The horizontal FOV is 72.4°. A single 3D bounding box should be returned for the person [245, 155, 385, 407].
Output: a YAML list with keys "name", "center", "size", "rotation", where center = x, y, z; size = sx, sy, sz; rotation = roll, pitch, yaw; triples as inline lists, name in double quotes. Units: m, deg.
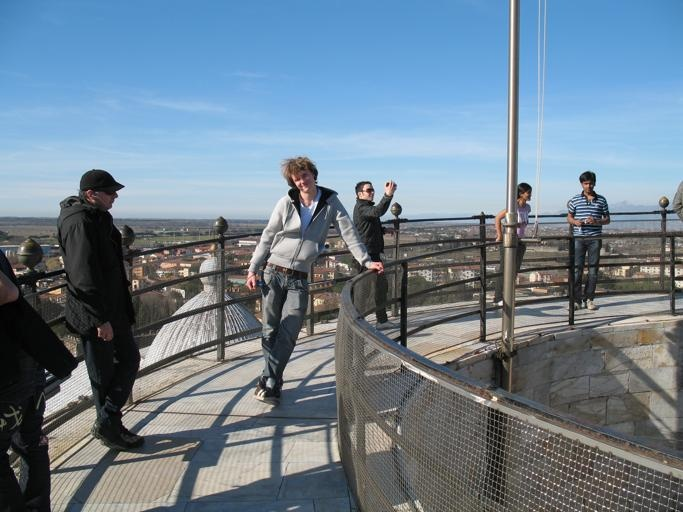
- name: "person"
  center: [-0.358, 0.241, 4.271]
  size: [1.002, 2.224, 0.458]
  rotation: [0, 5, -10]

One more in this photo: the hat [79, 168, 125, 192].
- name: "hat"
  center: [-1.565, -0.494, 3.029]
  size: [0.245, 0.149, 0.283]
  rotation: [-1, 5, -29]

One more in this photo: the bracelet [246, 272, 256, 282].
- name: "bracelet"
  center: [-0.860, 0.195, 4.398]
  size: [0.075, 0.075, 0.074]
  rotation: [1, -1, 4]

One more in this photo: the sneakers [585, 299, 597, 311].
- name: "sneakers"
  center: [4.271, 0.827, 7.963]
  size: [0.132, 0.129, 0.304]
  rotation: [-4, -9, 8]
